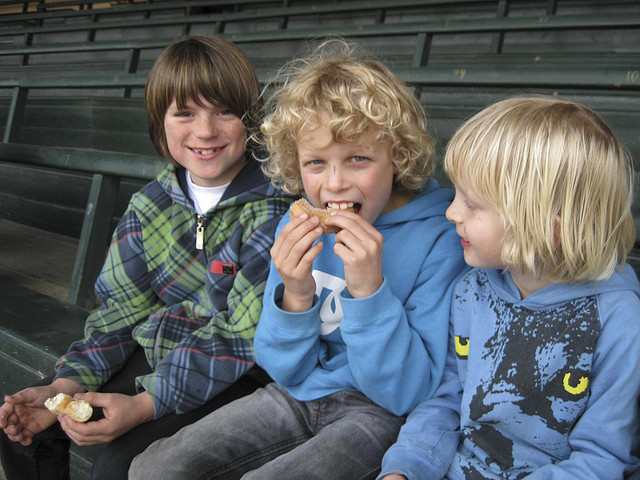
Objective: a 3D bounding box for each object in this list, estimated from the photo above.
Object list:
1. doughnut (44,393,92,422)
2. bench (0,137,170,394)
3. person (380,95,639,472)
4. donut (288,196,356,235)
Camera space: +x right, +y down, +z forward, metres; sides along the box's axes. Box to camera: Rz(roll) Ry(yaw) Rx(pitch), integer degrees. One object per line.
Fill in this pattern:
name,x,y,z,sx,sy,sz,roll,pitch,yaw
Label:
doughnut,-0.735,0.485,1.574,0.138,0.045,0.075,7,31,-2
bench,-1.073,0.102,2.453,0.521,0.814,1.335,-16,19,-41
person,0.552,0.147,1.346,0.578,0.972,0.449,10,18,24
donut,-0.028,-0.068,1.648,0.125,0.051,0.145,9,-16,5
